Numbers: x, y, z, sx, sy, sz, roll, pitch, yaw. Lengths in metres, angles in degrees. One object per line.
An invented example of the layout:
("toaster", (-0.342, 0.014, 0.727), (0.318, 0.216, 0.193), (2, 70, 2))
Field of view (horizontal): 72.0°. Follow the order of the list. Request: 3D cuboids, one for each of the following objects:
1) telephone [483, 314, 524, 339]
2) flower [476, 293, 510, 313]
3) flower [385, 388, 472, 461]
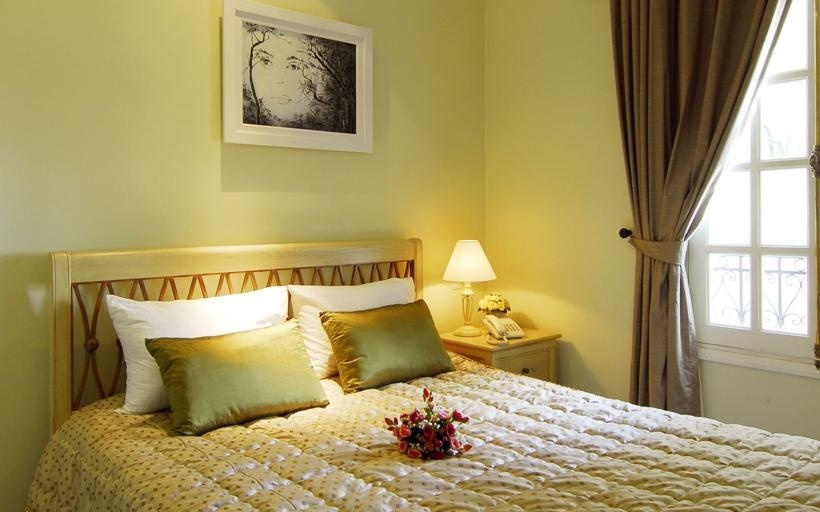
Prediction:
("telephone", (0.652, 0.472, 4.033), (0.198, 0.079, 0.194), (4, 15, -32))
("flower", (0.604, 0.367, 4.249), (0.178, 0.122, 0.176), (6, -8, -36))
("flower", (0.068, 0.753, 2.691), (0.306, 0.206, 0.351), (-2, -6, 41))
